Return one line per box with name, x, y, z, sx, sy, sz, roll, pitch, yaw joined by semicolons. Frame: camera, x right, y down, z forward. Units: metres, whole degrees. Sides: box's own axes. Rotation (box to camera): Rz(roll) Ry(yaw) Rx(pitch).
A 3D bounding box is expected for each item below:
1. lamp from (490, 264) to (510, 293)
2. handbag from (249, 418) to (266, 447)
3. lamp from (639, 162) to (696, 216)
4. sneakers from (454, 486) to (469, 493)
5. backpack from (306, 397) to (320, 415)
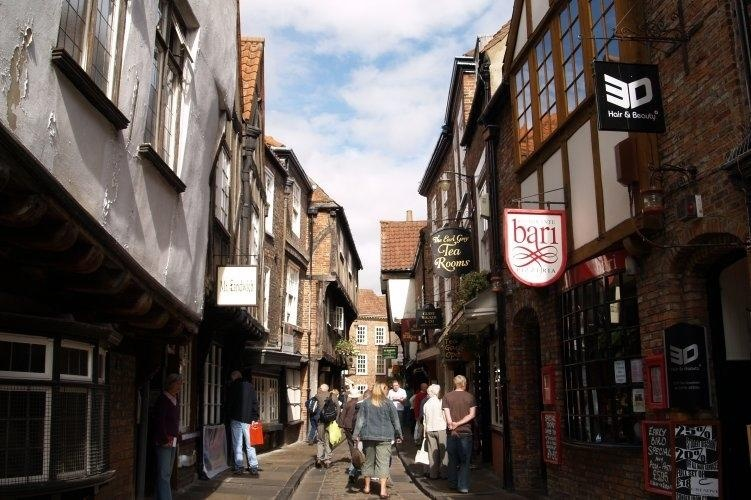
lamp;2.747;0.659;14.196;0.317;0.606;0.543;5;-14;-24
handbag;-2.749;4.272;15.240;0.259;0.569;0.784;-2;-20;-5
lamp;3.869;-0.927;8.733;0.325;0.699;0.820;3;-20;-19
sneakers;1.700;4.634;12.613;0.219;0.120;0.254;-4;-20;0
backpack;-1.707;4.397;18.171;0.327;0.533;0.659;0;23;2
